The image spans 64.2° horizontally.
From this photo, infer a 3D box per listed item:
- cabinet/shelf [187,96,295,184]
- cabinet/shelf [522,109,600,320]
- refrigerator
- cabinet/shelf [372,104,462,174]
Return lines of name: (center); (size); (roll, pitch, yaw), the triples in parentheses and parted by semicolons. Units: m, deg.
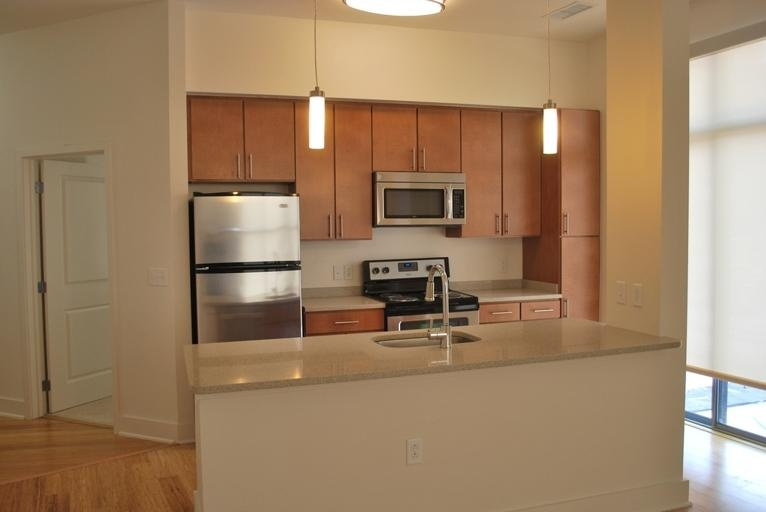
cabinet/shelf: (-1.253, -1.055, 5.629); (0.962, 0.739, 0.340); (2, 6, 3)
cabinet/shelf: (1.837, -0.413, 6.084); (0.651, 2.052, 0.572); (1, 13, 10)
refrigerator: (-1.208, 0.199, 5.318); (0.882, 1.472, 0.545); (-2, 5, -17)
cabinet/shelf: (0.272, -1.143, 5.848); (0.702, 0.573, 0.260); (0, 3, -15)
